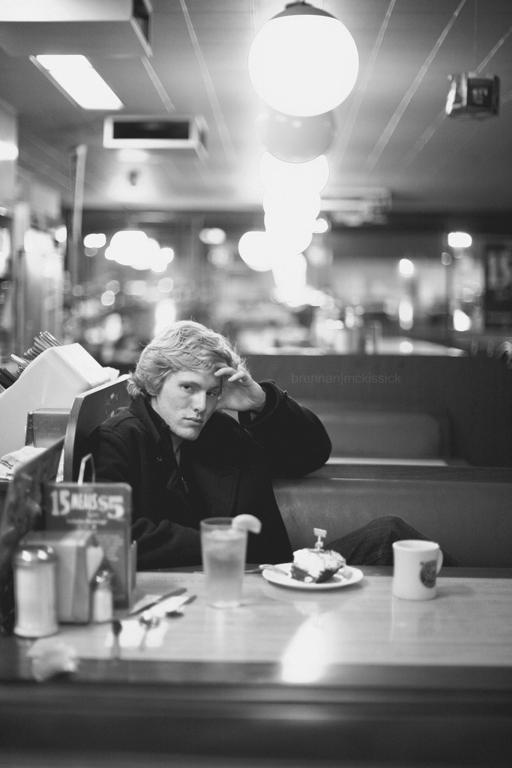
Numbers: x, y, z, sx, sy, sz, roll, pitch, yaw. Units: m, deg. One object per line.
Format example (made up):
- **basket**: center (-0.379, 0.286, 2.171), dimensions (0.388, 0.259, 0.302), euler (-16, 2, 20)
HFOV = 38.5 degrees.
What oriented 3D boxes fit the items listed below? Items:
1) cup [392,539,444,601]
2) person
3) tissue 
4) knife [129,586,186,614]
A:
- **cup**: center (0.251, 0.295, 1.155), dimensions (0.065, 0.078, 0.098), euler (0, -2, 7)
- **person**: center (-0.079, 0.163, 1.817), dimensions (0.801, 0.447, 0.511), euler (-5, 0, 42)
- **tissue **: center (-0.248, 0.260, 1.020), dimensions (0.127, 0.140, 0.106), euler (0, 1, -5)
- **knife**: center (-0.149, 0.327, 1.105), dimensions (0.020, 0.006, 0.135), euler (29, 8, 18)
